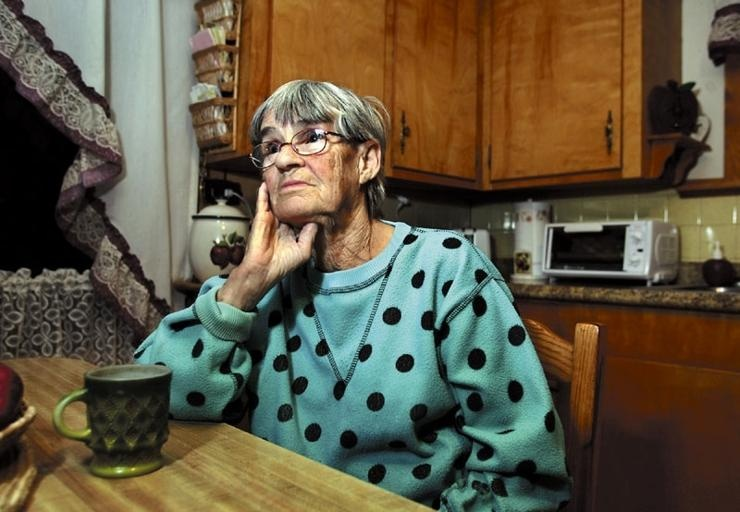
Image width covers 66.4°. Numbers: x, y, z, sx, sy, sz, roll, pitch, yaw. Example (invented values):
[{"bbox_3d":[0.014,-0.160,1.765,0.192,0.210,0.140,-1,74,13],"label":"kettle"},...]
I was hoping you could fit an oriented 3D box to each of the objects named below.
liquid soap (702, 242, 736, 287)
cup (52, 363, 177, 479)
[{"bbox_3d":[1.591,0.039,2.567,0.130,0.195,0.067,-24,-51,41],"label":"liquid soap"},{"bbox_3d":[-0.475,0.304,1.127,0.219,0.219,0.154,-1,3,-14],"label":"cup"}]
